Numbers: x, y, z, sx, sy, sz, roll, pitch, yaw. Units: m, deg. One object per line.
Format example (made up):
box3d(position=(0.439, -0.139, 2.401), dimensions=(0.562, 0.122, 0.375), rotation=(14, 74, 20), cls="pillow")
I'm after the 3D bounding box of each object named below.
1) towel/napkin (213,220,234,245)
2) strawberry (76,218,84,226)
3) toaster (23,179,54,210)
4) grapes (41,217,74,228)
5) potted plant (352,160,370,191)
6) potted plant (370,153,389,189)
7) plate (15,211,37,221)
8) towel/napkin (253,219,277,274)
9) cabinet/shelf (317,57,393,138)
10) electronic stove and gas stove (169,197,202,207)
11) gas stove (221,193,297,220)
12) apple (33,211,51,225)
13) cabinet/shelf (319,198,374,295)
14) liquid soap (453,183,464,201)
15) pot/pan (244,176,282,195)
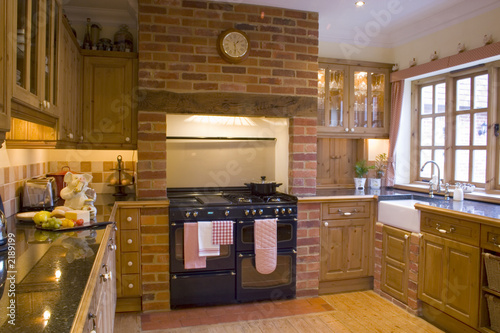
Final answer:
box3d(position=(-0.294, 0.698, 4.185), dimensions=(0.277, 0.260, 0.029), rotation=(0, 1, -21), cls="towel/napkin")
box3d(position=(-1.398, 0.463, 3.266), dimensions=(0.057, 0.048, 0.042), rotation=(0, 4, -16), cls="strawberry")
box3d(position=(-1.992, 0.239, 3.807), dimensions=(0.276, 0.245, 0.336), rotation=(2, 1, -18), cls="toaster")
box3d(position=(-1.555, 0.464, 3.213), dimensions=(0.124, 0.057, 0.158), rotation=(1, -2, 8), cls="grapes")
box3d(position=(1.483, 0.105, 5.253), dimensions=(0.183, 0.383, 0.483), rotation=(-1, 2, 15), cls="potted plant")
box3d(position=(1.748, 0.049, 5.336), dimensions=(0.245, 0.459, 0.384), rotation=(-1, 2, 17), cls="potted plant")
box3d(position=(-1.945, 0.439, 3.427), dimensions=(0.160, 0.067, 0.108), rotation=(-2, 1, -8), cls="plate")
box3d(position=(0.171, 0.865, 4.315), dimensions=(0.280, 0.581, 0.062), rotation=(1, -7, -21), cls="towel/napkin")
box3d(position=(1.322, -0.865, 5.336), dimensions=(1.010, 0.930, 0.540), rotation=(1, 7, 6), cls="cabinet/shelf")
box3d(position=(-0.711, 0.387, 4.358), dimensions=(0.331, 0.067, 0.411), rotation=(-2, 1, -11), cls="electronic stove and gas stove")
box3d(position=(0.127, 0.460, 4.479), dimensions=(0.824, 0.249, 0.474), rotation=(-2, 1, -4), cls="gas stove")
box3d(position=(-1.739, 0.429, 3.301), dimensions=(0.145, 0.106, 0.104), rotation=(-4, -1, -32), cls="apple")
box3d(position=(1.044, 0.922, 4.986), dimensions=(0.849, 1.092, 0.801), rotation=(-3, 4, -26), cls="cabinet/shelf")
box3d(position=(2.338, 0.285, 4.428), dimensions=(0.100, 0.179, 0.218), rotation=(-1, 2, 29), cls="liquid soap")
box3d(position=(0.133, 0.223, 4.738), dimensions=(0.337, 0.217, 0.473), rotation=(-2, 1, -8), cls="pot/pan")
